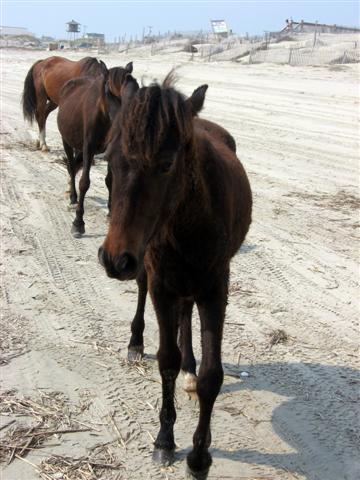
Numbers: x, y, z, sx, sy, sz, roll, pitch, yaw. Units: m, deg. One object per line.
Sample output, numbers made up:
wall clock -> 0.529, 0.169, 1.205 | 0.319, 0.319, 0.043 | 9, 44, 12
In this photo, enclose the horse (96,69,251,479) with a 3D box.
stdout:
horse -> -0.004, 0.136, 3.194 | 0.793, 2.138, 1.898 | 4, 16, 7
